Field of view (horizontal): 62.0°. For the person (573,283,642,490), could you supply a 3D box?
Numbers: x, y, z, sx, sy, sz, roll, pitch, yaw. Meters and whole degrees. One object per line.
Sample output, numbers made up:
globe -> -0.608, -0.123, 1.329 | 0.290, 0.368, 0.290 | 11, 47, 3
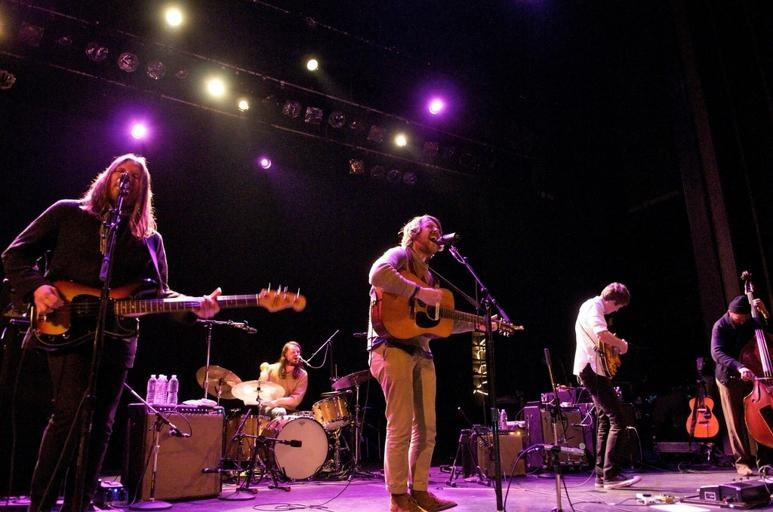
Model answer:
person -> 3.100, 1.790, 9.072 | 0.805, 2.754, 1.088 | -6, -24, 14

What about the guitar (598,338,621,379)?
guitar -> 3.156, 1.487, 9.046 | 0.228, 0.451, 0.499 | -11, -26, 23

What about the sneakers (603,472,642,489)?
sneakers -> 3.345, 3.170, 9.033 | 0.576, 0.230, 0.217 | -7, -12, -5

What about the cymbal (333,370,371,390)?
cymbal -> -0.625, 2.106, 10.954 | 0.587, 0.286, 0.788 | 6, -25, -13

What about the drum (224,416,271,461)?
drum -> -2.363, 2.934, 10.278 | 0.844, 0.865, 0.850 | 2, -8, -3

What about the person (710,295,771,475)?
person -> 5.317, 1.836, 9.772 | 1.151, 2.892, 0.484 | -4, -2, -4

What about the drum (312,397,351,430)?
drum -> -1.013, 2.632, 10.948 | 0.578, 0.405, 0.573 | -21, -19, -8

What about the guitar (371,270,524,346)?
guitar -> 0.735, 0.568, 7.312 | 0.238, 0.780, 1.850 | -9, 0, -40

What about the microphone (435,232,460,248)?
microphone -> 0.739, -0.209, 7.866 | 0.118, 0.124, 0.355 | 17, -9, -28
